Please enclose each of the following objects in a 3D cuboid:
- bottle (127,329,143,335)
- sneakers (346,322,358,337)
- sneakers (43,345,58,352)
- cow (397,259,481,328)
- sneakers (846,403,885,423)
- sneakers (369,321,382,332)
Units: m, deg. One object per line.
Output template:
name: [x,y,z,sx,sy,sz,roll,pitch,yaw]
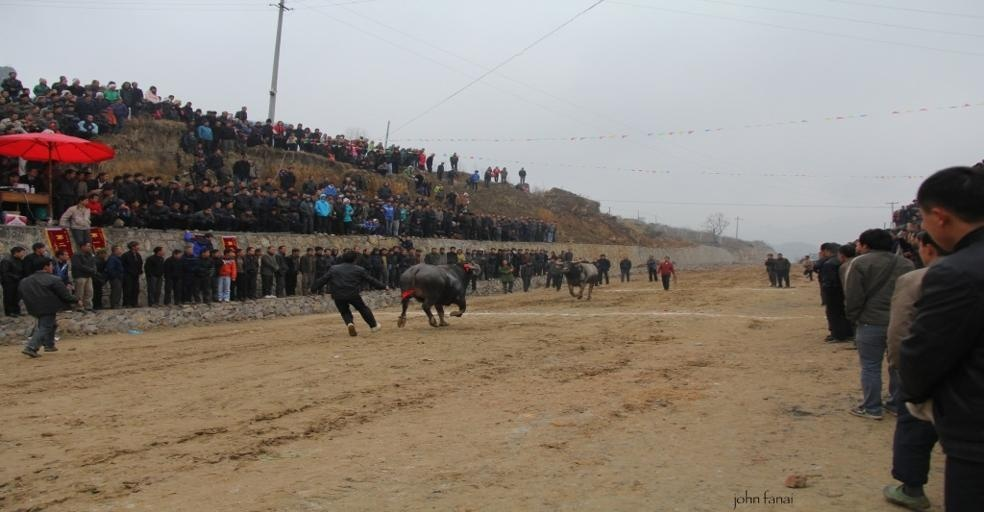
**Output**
bottle: [-11.243,2.377,23.219,0.249,0.057,0.229,8,7,-1]
sneakers: [-4.061,2.131,21.349,0.257,0.439,0.218,-5,18,-19]
sneakers: [-12.169,2.559,20.317,0.431,0.131,0.133,-1,4,-9]
cow: [-1.728,1.188,23.232,0.983,1.897,2.367,2,5,39]
sneakers: [8.015,3.350,15.791,0.676,0.237,0.275,6,10,35]
sneakers: [-3.550,2.138,22.329,0.317,0.211,0.577,-9,-10,-4]
